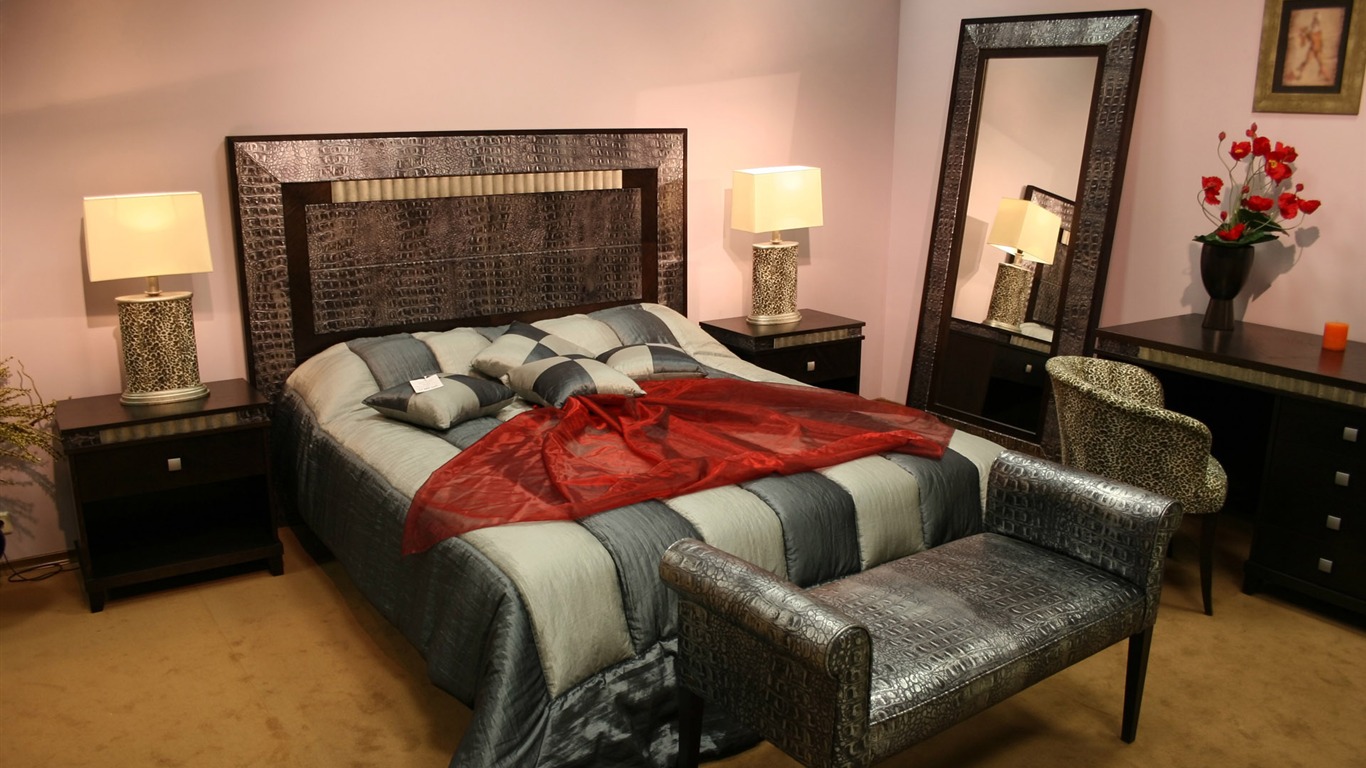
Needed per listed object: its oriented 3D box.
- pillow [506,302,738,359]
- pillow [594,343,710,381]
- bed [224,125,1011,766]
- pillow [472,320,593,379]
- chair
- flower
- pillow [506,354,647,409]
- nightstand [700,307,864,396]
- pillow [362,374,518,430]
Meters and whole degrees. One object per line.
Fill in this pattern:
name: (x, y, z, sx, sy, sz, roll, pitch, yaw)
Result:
pillow: (-0.341, -0.347, 5.486, 0.624, 0.153, 0.665, -10, 22, -36)
pillow: (-0.196, -0.144, 5.140, 0.363, 0.107, 0.358, -5, 14, -26)
bed: (-0.812, 0.269, 4.993, 3.614, 2.368, 3.814, -9, 22, -24)
pillow: (-0.941, -0.210, 5.033, 0.432, 0.124, 0.415, 29, 34, 34)
chair: (2.595, 0.521, 4.929, 1.006, 1.245, 1.150, 6, 16, 19)
flower: (3.478, -1.149, 5.102, 0.609, 0.540, 0.657, 11, -12, -21)
pillow: (-0.650, -0.037, 4.757, 0.434, 0.128, 0.400, -9, 17, -36)
nightstand: (0.752, -0.086, 6.311, 0.927, 0.790, 0.654, -12, 22, -26)
pillow: (-1.350, 0.085, 4.734, 0.713, 0.182, 0.697, 2, 16, 0)
